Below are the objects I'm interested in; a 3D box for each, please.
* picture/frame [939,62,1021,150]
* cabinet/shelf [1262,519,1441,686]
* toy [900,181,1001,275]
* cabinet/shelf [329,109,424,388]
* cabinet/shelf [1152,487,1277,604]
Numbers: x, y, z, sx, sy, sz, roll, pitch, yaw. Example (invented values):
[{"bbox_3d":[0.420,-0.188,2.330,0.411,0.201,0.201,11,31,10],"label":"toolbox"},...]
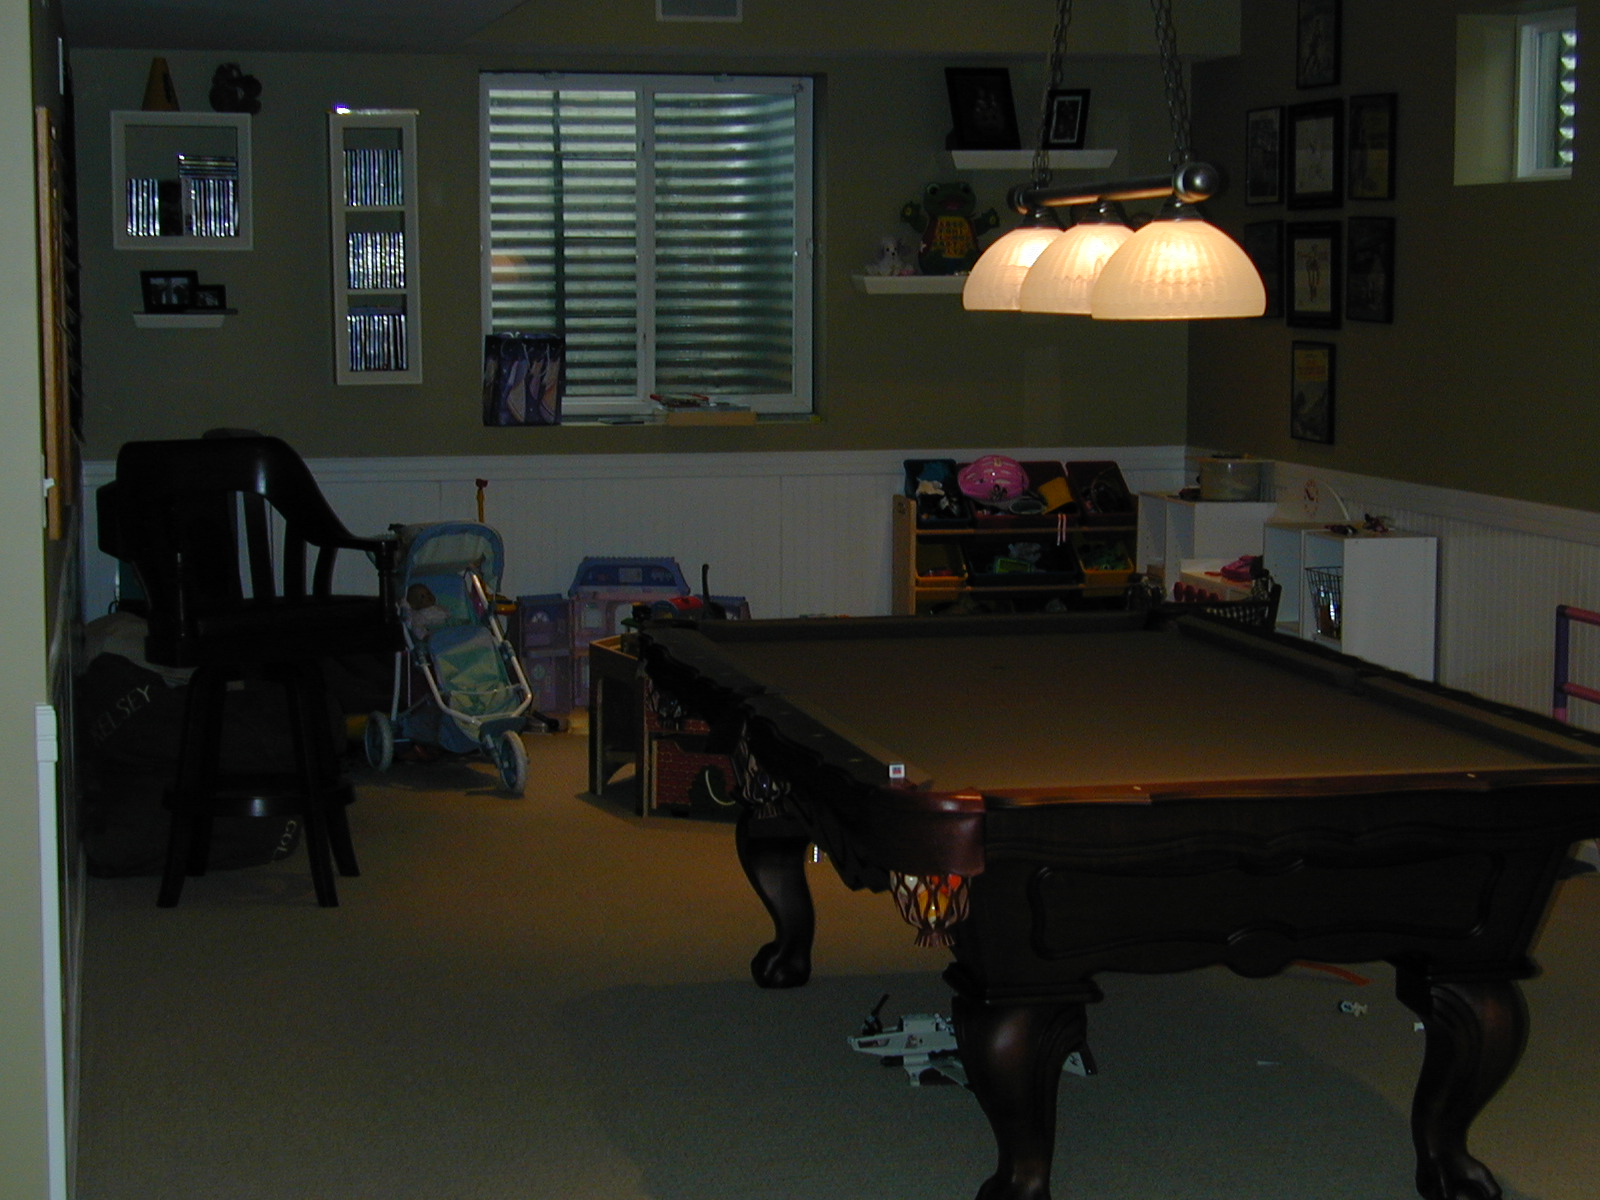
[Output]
[{"bbox_3d":[0.952,-2.647,7.540,0.433,0.562,0.053,-4,0,-10],"label":"picture/frame"},{"bbox_3d":[2.500,-0.011,6.627,0.991,0.646,1.170,2,3,12],"label":"cabinet/shelf"},{"bbox_3d":[0.807,-2.029,7.597,0.495,0.514,0.182,-2,0,4],"label":"toy"},{"bbox_3d":[-2.139,-1.771,7.098,0.440,1.316,0.328,-3,9,-17],"label":"cabinet/shelf"},{"bbox_3d":[2.110,-0.348,7.302,0.417,0.677,0.870,1,2,-8],"label":"cabinet/shelf"}]
